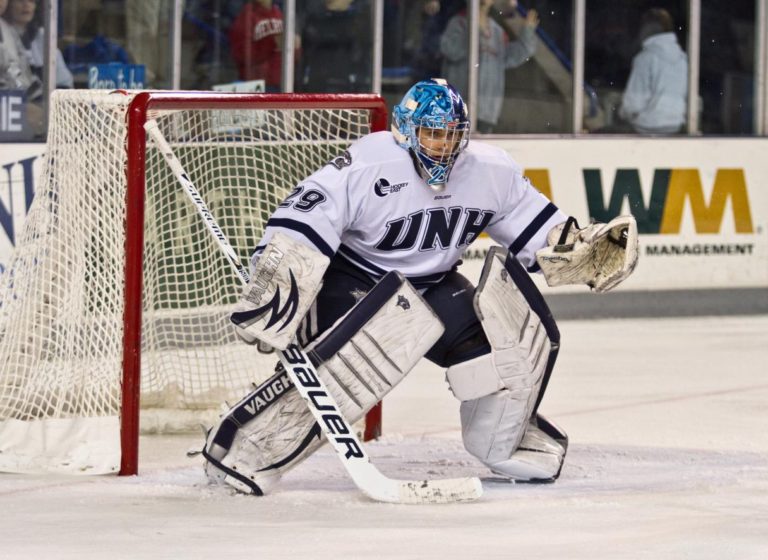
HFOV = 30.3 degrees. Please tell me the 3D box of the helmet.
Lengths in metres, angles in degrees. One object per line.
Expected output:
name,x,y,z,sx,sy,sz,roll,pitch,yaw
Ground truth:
helmet,0.198,-0.609,5.767,0.317,0.418,0.376,-1,13,-29
